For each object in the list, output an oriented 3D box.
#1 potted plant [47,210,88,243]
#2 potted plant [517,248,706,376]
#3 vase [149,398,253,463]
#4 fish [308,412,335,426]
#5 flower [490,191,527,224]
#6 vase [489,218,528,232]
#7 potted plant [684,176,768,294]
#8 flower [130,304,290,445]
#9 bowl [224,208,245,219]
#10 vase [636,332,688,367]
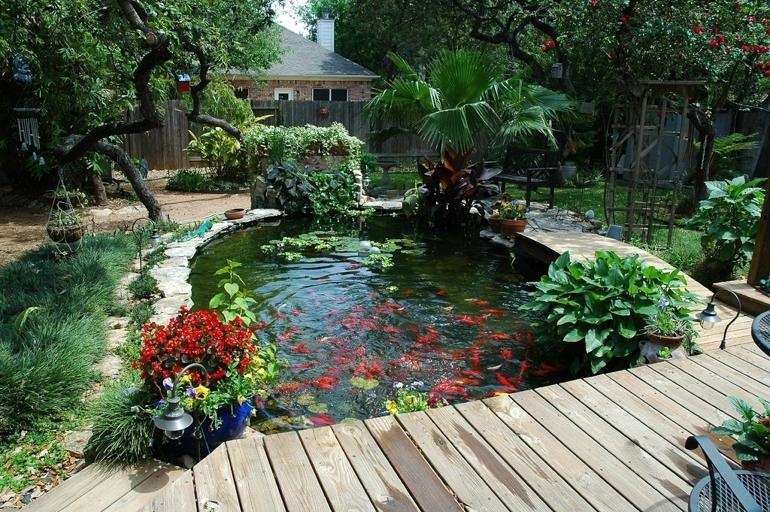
[{"bbox_3d":[-4.469,-0.465,6.698,0.422,0.493,0.425,7,8,32],"label":"potted plant"},{"bbox_3d":[2.324,0.620,4.938,1.822,0.790,1.005,7,21,20],"label":"potted plant"},{"bbox_3d":[-1.425,1.286,3.633,0.522,0.323,0.481,3,6,20],"label":"vase"},{"bbox_3d":[-0.559,1.445,4.201,0.150,0.033,0.122,7,12,16],"label":"fish"},{"bbox_3d":[2.280,-0.907,8.992,0.610,0.297,0.925,0,12,2],"label":"flower"},{"bbox_3d":[2.183,-0.542,8.551,0.429,0.146,0.424,-3,6,-41],"label":"vase"},{"bbox_3d":[4.441,-0.284,6.330,0.721,1.394,0.920,7,21,26],"label":"potted plant"},{"bbox_3d":[-1.458,0.833,3.665,1.048,0.812,0.994,8,20,11],"label":"flower"},{"bbox_3d":[-3.001,-0.822,9.520,0.335,0.169,0.217,-8,19,-21],"label":"bowl"},{"bbox_3d":[2.532,0.856,4.385,0.349,0.204,0.331,0,-3,0],"label":"vase"}]
